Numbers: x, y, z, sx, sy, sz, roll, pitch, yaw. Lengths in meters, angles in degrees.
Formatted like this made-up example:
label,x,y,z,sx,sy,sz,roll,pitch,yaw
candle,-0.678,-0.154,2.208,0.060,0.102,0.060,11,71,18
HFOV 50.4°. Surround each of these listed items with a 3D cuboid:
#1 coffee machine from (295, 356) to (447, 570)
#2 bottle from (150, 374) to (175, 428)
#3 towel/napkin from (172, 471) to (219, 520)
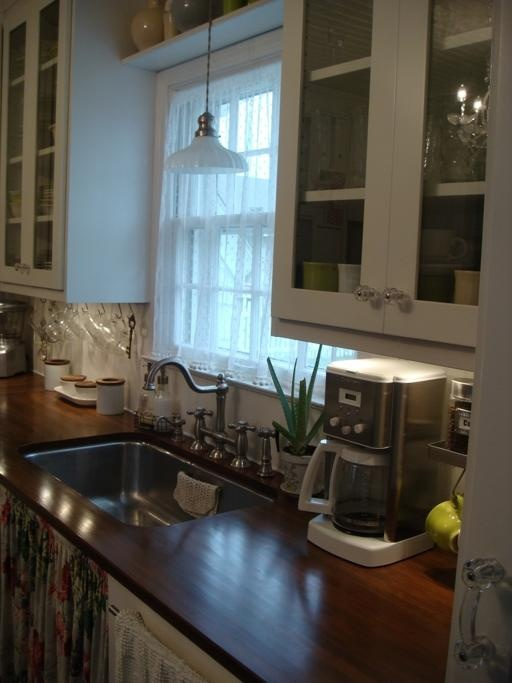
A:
label,x,y,z,sx,sy,sz,roll,pitch,yaw
coffee machine,0.210,0.228,1.293,0.358,0.561,0.306,0,4,-32
bottle,-0.341,0.209,1.982,0.100,0.212,0.105,1,-1,0
towel/napkin,-0.178,0.467,1.622,0.115,0.133,0.041,12,9,38
